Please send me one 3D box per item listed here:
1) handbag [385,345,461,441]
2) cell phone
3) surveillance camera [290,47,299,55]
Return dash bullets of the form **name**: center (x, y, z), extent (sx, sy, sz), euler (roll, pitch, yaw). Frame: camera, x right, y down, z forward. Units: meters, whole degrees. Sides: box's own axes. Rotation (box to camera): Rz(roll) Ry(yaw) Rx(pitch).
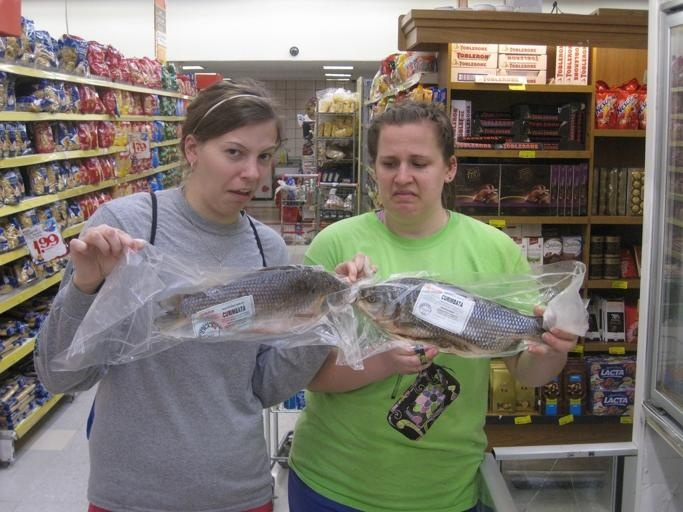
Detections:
- **handbag**: center (0.255, 0.460, 1.921), extent (0.271, 0.164, 0.062), euler (-45, 3, -6)
- **cell phone**: center (0.257, 0.460, 1.922), extent (0.270, 0.162, 0.062), euler (-44, 3, -6)
- **surveillance camera**: center (-0.991, -4.229, 12.301), extent (0.183, 0.170, 0.040), euler (5, 13, 0)
